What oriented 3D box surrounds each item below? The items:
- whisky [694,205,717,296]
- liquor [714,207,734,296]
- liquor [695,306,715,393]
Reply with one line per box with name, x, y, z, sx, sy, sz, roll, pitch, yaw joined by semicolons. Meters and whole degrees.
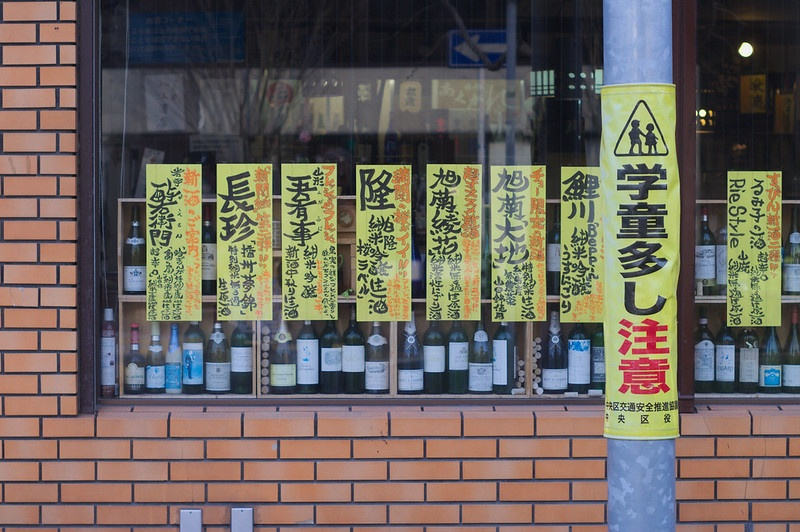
whisky;1.651;-0.083;13.084;0.112;0.465;0.037;-2;1;-1
liquor;1.739;-0.053;13.085;0.066;0.404;0.032;-1;1;5
liquor;1.646;0.460;13.077;0.114;0.451;0.051;-1;1;3
